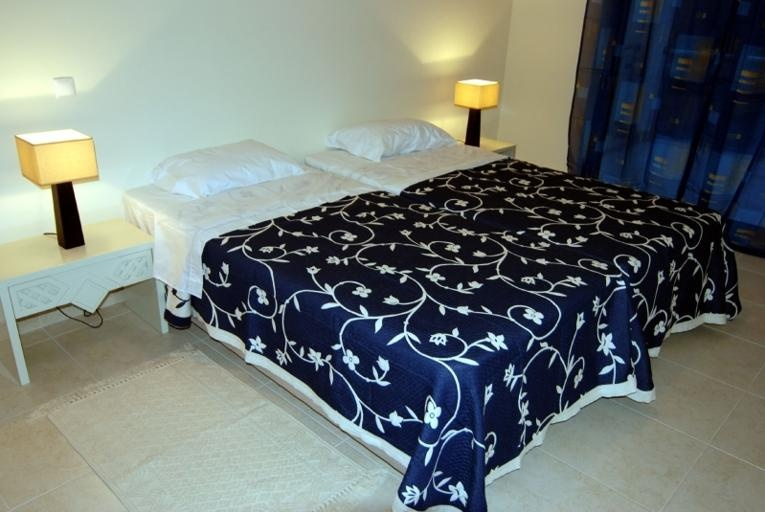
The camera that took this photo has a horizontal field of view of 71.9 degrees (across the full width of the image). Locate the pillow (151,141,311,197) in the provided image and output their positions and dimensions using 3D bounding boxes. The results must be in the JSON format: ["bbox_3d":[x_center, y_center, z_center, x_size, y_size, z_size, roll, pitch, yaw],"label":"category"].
[{"bbox_3d":[-1.051,-0.592,3.536,0.627,0.127,0.475,-16,32,-30],"label":"pillow"}]
